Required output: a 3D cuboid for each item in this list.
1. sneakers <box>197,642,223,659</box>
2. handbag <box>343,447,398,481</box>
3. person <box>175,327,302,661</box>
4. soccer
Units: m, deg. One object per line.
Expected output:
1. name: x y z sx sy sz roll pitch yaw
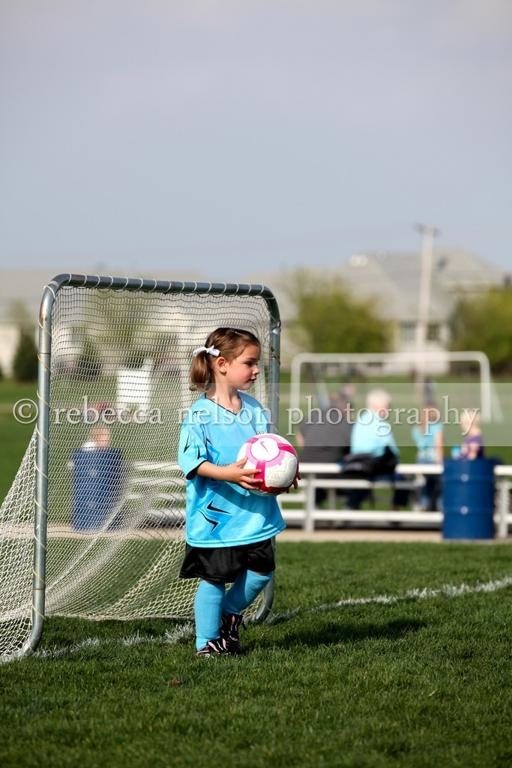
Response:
1. sneakers: -0.183 1.105 5.520 0.119 0.057 0.048 0 -6 10
2. handbag: 0.806 0.578 9.576 0.332 0.132 0.229 -1 -4 11
3. person: -0.100 0.450 5.556 0.423 1.358 0.505 0 2 4
4. soccer: 0.043 0.309 5.449 0.237 0.229 0.228 -1 10 1
